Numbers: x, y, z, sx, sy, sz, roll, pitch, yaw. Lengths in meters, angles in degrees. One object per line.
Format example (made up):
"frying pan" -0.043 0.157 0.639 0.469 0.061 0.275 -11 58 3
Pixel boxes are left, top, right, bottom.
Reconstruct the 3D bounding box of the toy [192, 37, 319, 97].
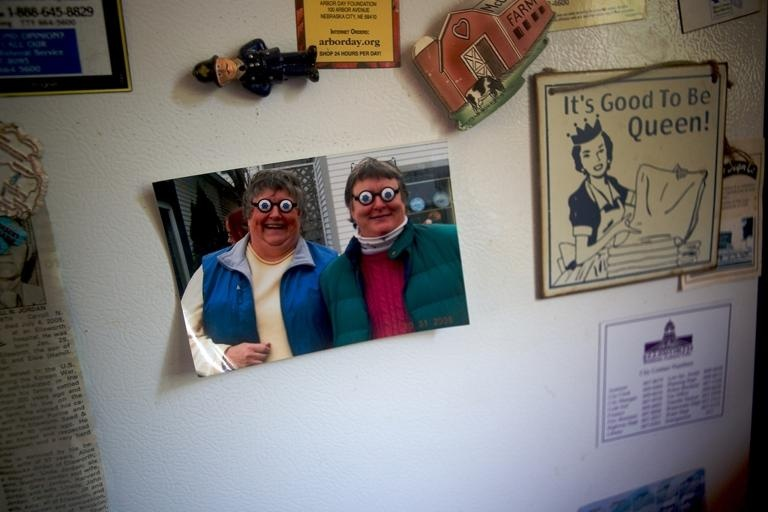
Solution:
"toy" -0.305 -0.453 1.391 0.268 0.138 0.105 -4 -4 -2
